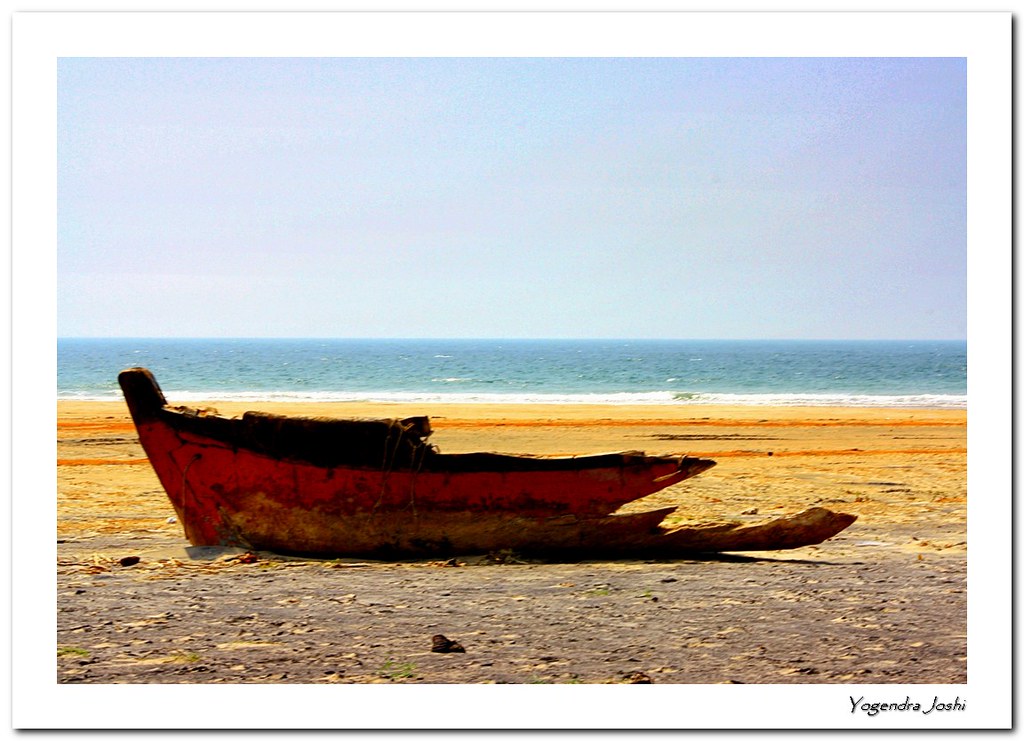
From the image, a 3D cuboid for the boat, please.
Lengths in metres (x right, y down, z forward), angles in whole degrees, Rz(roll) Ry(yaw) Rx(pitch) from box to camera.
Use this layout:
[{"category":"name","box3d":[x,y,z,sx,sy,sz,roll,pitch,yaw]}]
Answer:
[{"category":"boat","box3d":[-0.443,1.173,15.556,8.281,1.635,1.521,1,-8,7]}]
